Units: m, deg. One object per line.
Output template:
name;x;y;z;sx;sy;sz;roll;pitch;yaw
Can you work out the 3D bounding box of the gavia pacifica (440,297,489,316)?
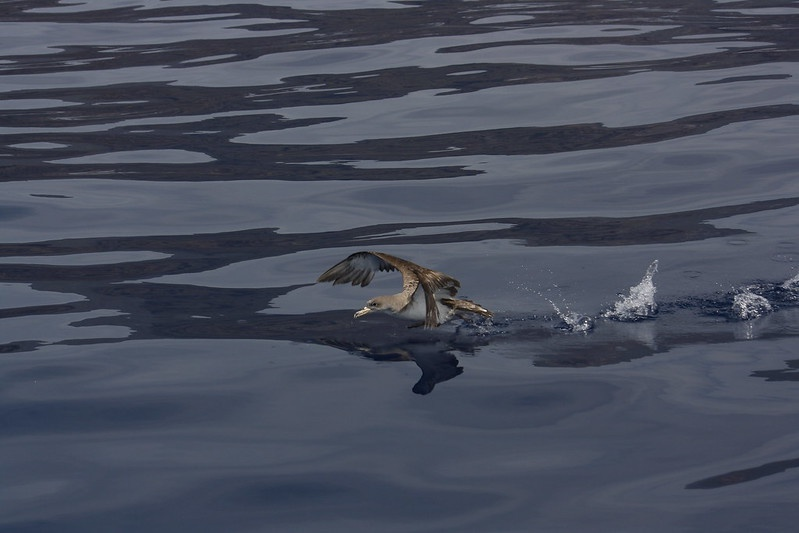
gavia pacifica;0.984;0.673;18.209;1.188;0.167;0.314;7;1;11
